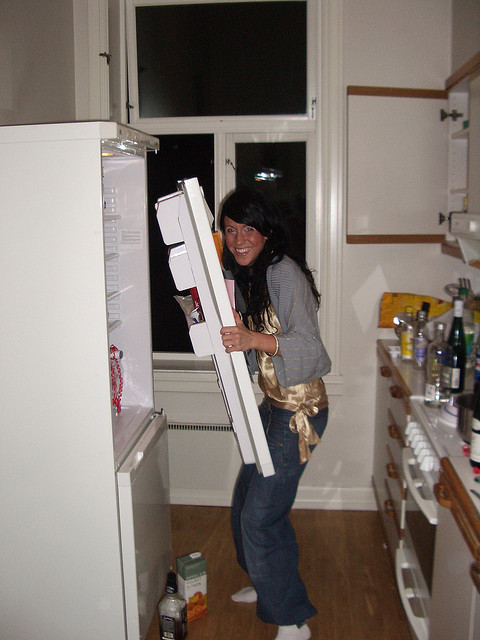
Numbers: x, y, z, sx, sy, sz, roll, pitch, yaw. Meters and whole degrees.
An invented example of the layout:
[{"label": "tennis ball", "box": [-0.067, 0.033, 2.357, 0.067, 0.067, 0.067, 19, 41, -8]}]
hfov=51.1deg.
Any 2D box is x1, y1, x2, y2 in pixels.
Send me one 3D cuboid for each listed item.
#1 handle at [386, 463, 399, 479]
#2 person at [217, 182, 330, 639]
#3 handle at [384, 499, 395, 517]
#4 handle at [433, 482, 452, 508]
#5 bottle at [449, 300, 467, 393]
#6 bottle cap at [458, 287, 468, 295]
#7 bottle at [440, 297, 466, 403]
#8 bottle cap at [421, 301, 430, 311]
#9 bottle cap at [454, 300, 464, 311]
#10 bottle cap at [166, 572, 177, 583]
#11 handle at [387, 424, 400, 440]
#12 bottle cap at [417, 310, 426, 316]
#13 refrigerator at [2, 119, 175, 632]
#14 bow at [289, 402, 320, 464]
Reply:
[{"label": "handle", "box": [0.565, 0.556, 1.855, 0.025, 0.044, 0.041, 8, -34, -5]}, {"label": "person", "box": [0.117, 0.328, 1.590, 0.346, 1.450, 0.462, 0, 5, -2]}, {"label": "handle", "box": [0.567, 0.707, 1.901, 0.044, 0.055, 0.062, 0, 0, 7]}, {"label": "handle", "box": [0.424, 0.363, 1.043, 0.012, 0.043, 0.034, -6, -29, 15]}, {"label": "bottle", "box": [0.646, 0.073, 1.484, 0.049, 0.269, 0.131, 2, 6, 24]}, {"label": "bottle cap", "box": [0.825, -0.106, 1.850, 0.029, 0.037, 0.034, 6, 6, 9]}, {"label": "bottle", "box": [0.626, 0.096, 1.471, 0.065, 0.321, 0.143, 2, 6, 24]}, {"label": "bottle cap", "box": [0.830, -0.062, 2.236, 0.024, 0.038, 0.018, 15, 26, 18]}, {"label": "bottle cap", "box": [0.636, -0.043, 1.453, 0.023, 0.034, 0.026, 0, 13, 23]}, {"label": "bottle cap", "box": [-0.219, 0.836, 1.637, 0.033, 0.052, 0.041, 6, -24, 0]}, {"label": "handle", "box": [0.569, 0.415, 1.857, 0.010, 0.052, 0.045, -19, 9, 29]}, {"label": "bottle cap", "box": [0.766, -0.029, 2.115, 0.026, 0.026, 0.029, 10, -2, -27]}, {"label": "refrigerator", "box": [-0.414, 0.235, 1.492, 0.434, 1.488, 0.533, 3, 6, 27]}, {"label": "bow", "box": [0.201, 0.344, 1.531, 0.086, 0.222, 0.051, -5, 23, 8]}]
